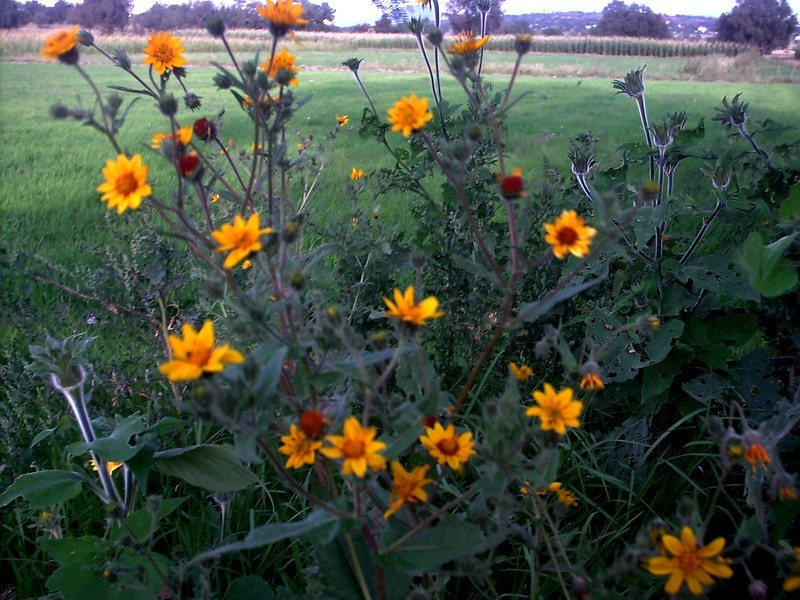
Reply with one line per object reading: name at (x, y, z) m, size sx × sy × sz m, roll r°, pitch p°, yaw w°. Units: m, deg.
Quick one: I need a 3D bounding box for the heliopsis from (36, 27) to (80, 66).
heliopsis at (-0.892, -0.679, 1.405) m, size 0.092 × 0.083 × 0.201 m, roll -18°, pitch 36°, yaw -27°

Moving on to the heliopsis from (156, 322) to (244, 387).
heliopsis at (-0.423, 0.112, 1.081) m, size 0.181 × 0.088 × 0.189 m, roll 2°, pitch 15°, yaw -33°

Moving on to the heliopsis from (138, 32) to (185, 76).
heliopsis at (-0.692, -0.757, 1.626) m, size 0.145 × 0.164 × 0.060 m, roll -5°, pitch 13°, yaw -17°

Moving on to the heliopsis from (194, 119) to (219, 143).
heliopsis at (-0.594, -0.511, 1.641) m, size 0.066 × 0.073 × 0.072 m, roll 12°, pitch 14°, yaw 13°
